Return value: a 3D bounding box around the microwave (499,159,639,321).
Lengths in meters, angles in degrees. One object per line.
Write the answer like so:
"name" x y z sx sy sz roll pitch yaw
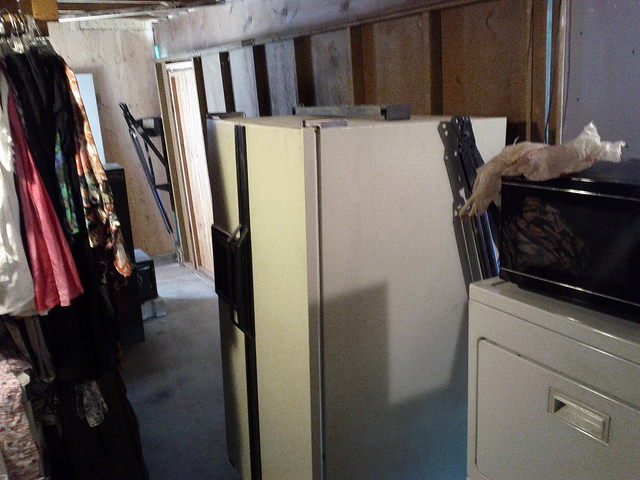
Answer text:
"microwave" 0.717 -0.062 1.497 0.373 0.365 0.390 -11 18 -41

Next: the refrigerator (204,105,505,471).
"refrigerator" -0.029 0.031 3.101 1.370 2.608 1.354 -6 12 -28
